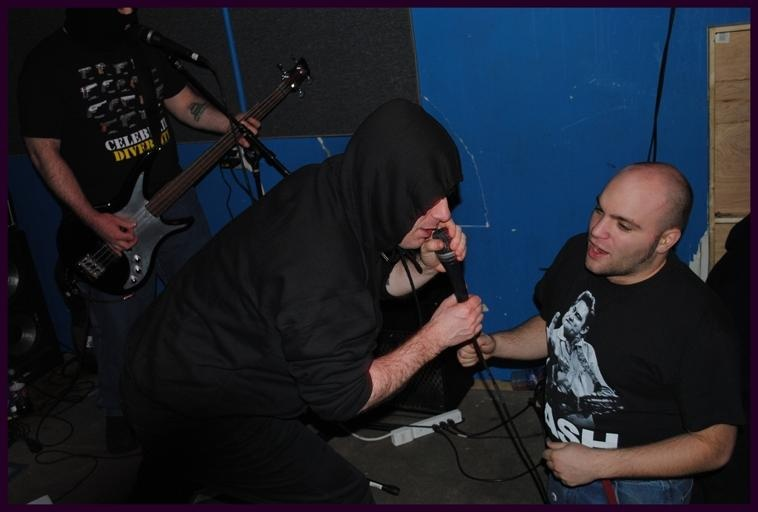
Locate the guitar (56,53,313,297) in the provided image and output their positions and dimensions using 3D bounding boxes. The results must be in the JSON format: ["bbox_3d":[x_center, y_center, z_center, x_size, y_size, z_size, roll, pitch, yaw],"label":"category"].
[{"bbox_3d":[-1.228,-0.539,3.705,2.030,0.595,0.206,-45,40,-13],"label":"guitar"}]

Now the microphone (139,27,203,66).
[{"bbox_3d":[-1.257,-1.305,3.772,0.341,0.226,0.285,-5,23,-9],"label":"microphone"}]

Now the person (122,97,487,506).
[{"bbox_3d":[-0.353,0.271,3.127,1.506,2.486,1.119,0,50,-20],"label":"person"}]
